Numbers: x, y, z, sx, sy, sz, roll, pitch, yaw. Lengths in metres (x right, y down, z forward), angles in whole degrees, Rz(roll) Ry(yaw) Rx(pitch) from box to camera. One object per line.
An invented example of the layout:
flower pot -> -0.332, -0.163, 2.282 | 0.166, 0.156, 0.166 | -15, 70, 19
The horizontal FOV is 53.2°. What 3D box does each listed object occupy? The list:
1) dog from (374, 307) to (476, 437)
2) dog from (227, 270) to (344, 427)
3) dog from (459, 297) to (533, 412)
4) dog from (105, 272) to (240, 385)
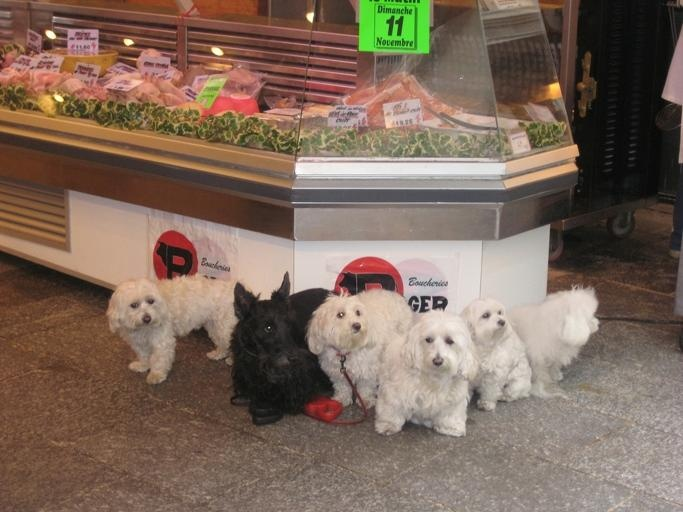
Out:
dog -> 0.333, 0.545, 3.692 | 0.478, 0.687, 0.685 | 2, 25, 0
dog -> -0.422, 0.434, 3.981 | 0.539, 0.837, 0.810 | -9, 24, -11
dog -> 0.848, 0.550, 3.899 | 0.350, 0.595, 0.495 | 23, 19, 39
dog -> -1.002, 0.325, 4.223 | 0.835, 0.667, 0.506 | -12, 25, -28
